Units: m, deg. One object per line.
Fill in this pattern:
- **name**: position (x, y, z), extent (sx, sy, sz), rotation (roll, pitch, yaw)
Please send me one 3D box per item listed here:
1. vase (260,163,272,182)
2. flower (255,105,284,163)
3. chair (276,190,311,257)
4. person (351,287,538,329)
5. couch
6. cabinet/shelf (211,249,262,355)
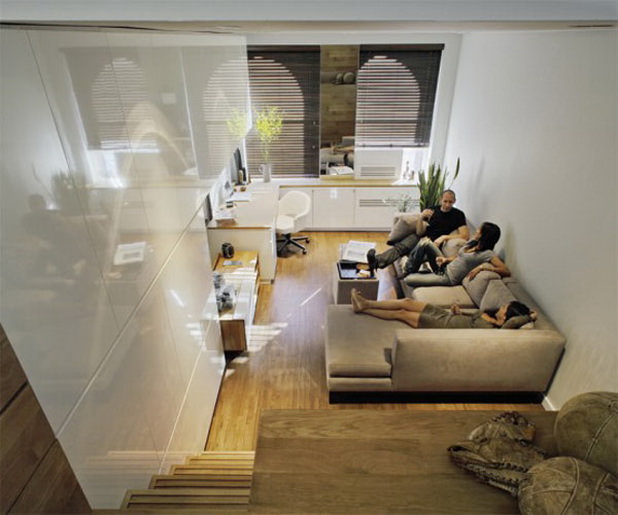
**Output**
- **vase**: position (-0.636, -1.278, 6.930), extent (0.152, 0.267, 0.247), rotation (-5, 21, -4)
- **flower**: position (-0.579, -1.773, 6.747), extent (0.428, 0.793, 0.529), rotation (-3, 21, 1)
- **chair**: position (-0.205, -0.496, 6.419), extent (0.530, 0.771, 0.812), rotation (-4, 20, 0)
- **person**: position (1.085, 0.459, 3.815), extent (1.359, 0.349, 0.487), rotation (1, 22, 20)
- **couch**: position (1.036, 0.587, 3.940), extent (1.776, 0.789, 1.203), rotation (-3, 20, 1)
- **cabinet/shelf**: position (-0.700, 0.446, 4.432), extent (0.235, 0.234, 1.013), rotation (-3, 28, -3)
